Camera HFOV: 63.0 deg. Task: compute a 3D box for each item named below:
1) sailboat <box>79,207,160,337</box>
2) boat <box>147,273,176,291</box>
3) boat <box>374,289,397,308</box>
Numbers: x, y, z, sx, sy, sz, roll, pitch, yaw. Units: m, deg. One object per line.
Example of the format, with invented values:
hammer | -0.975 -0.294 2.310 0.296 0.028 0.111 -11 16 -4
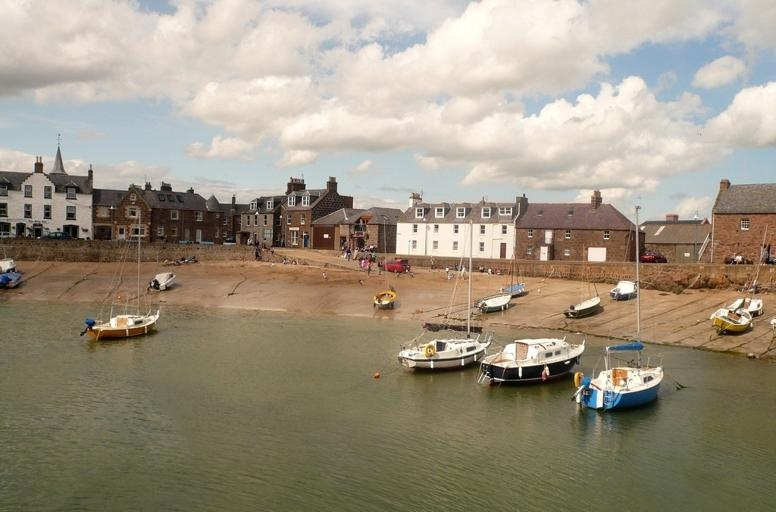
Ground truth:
sailboat | -19.856 2.134 47.953 2.446 7.921 7.076 5 4 34
boat | -22.279 2.595 63.656 1.271 0.942 3.040 6 21 12
boat | -0.167 3.951 56.212 1.897 1.297 2.016 0 11 0
